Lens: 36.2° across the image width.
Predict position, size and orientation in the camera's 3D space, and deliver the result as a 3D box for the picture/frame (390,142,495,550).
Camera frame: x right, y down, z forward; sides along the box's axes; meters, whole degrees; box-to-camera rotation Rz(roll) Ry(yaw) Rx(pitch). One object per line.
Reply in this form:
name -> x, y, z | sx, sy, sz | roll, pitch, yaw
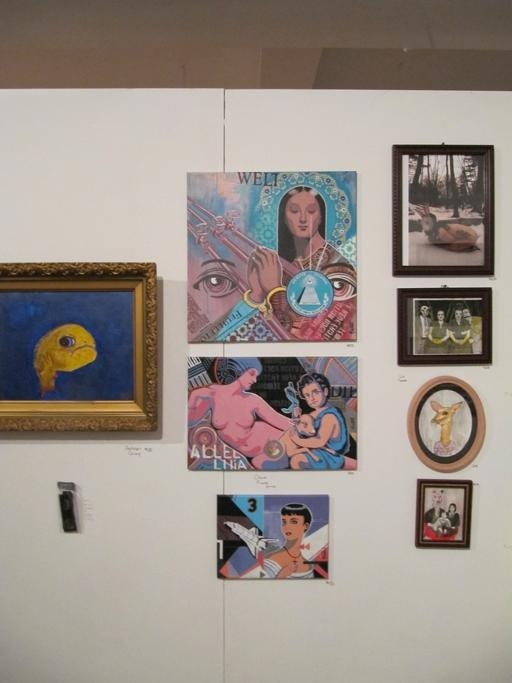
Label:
picture/frame -> 0.554, 0.020, 2.380 | 0.310, 1.222, 0.099 | 2, 4, 9
